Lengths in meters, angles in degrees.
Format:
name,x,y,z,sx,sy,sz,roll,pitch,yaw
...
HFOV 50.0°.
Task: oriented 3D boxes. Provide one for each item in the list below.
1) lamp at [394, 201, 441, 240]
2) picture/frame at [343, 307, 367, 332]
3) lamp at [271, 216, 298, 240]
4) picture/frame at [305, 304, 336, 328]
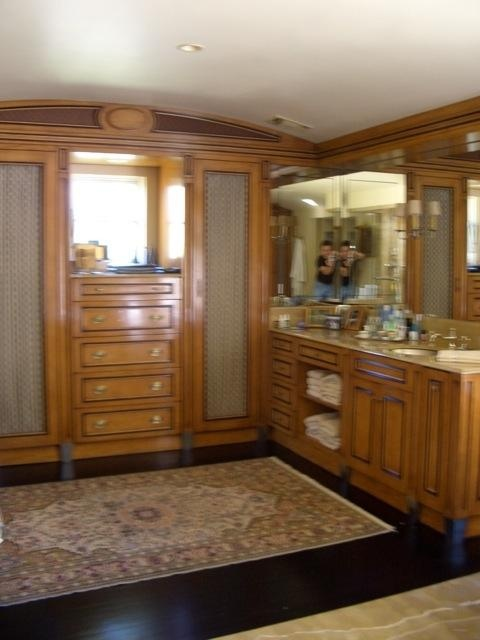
name,x,y,z,sx,sy,sz,roll,pitch,yaw
lamp,1.224,-0.690,3.533,0.091,0.228,0.336,-3,11,-18
picture/frame,0.966,-0.004,4.303,0.074,0.174,0.187,15,1,-19
lamp,0.376,-0.822,4.590,0.235,0.203,0.205,0,2,-7
picture/frame,0.715,-0.029,4.573,0.235,0.225,0.018,0,-7,-11
